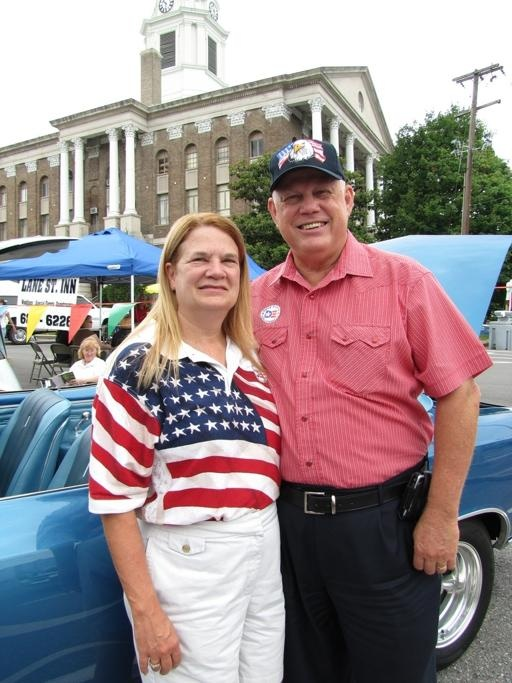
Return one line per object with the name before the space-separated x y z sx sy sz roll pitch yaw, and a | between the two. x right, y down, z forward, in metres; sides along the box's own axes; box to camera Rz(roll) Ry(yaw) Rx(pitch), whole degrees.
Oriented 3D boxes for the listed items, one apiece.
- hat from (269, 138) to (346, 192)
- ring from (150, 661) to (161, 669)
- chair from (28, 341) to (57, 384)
hat | 0.169 -0.623 2.407 0.275 0.174 0.342 -8 9 7
ring | -0.285 0.906 1.928 0.019 0.021 0.020 3 37 -2
chair | -4.015 0.429 12.650 0.391 0.558 0.443 -14 11 26
